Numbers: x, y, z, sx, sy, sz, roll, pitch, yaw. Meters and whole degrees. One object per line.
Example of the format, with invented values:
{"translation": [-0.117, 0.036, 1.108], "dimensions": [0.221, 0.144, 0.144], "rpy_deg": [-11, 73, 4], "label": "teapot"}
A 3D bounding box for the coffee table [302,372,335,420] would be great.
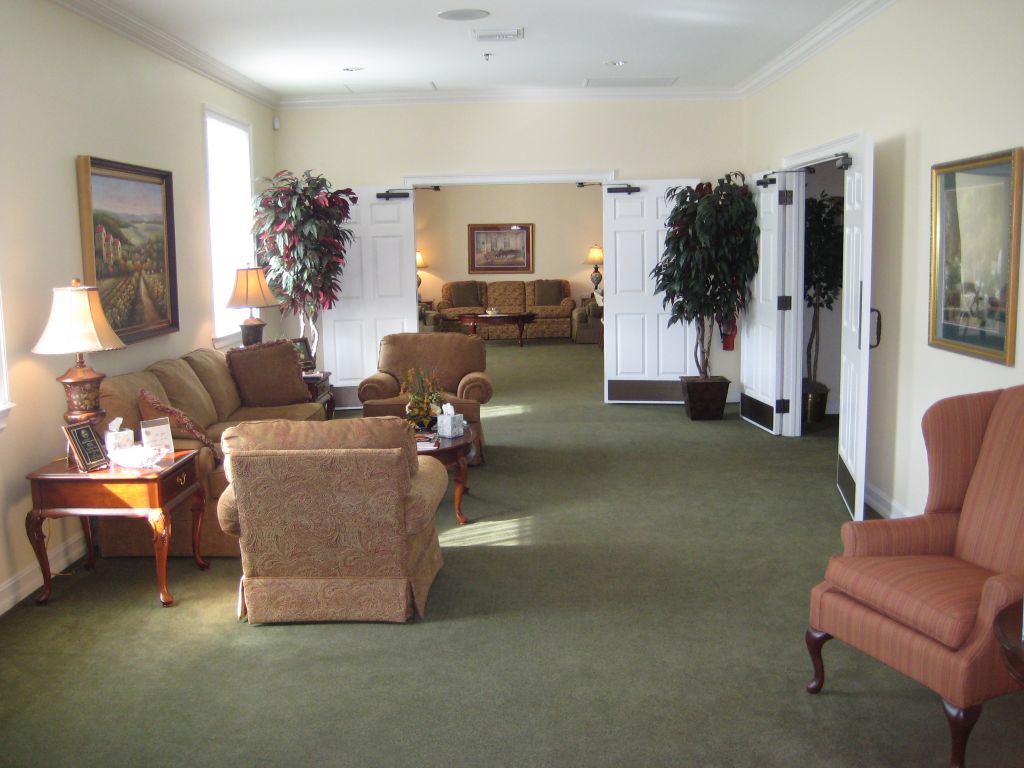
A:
{"translation": [-1.934, 0.116, 7.427], "dimensions": [0.173, 0.283, 0.462], "rpy_deg": [0, 5, -2], "label": "coffee table"}

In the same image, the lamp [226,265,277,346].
{"translation": [-2.616, -0.775, 7.488], "dimensions": [0.412, 0.779, 1.169], "rpy_deg": [-6, 12, -19], "label": "lamp"}

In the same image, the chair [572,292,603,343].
{"translation": [1.480, -1.335, 15.238], "dimensions": [0.513, 0.901, 1.047], "rpy_deg": [-3, 11, -7], "label": "chair"}

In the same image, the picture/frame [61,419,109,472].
{"translation": [-2.572, 0.374, 4.515], "dimensions": [0.055, 0.353, 0.278], "rpy_deg": [-28, -6, 16], "label": "picture/frame"}

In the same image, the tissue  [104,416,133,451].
{"translation": [-2.387, 0.310, 4.532], "dimensions": [0.134, 0.166, 0.305], "rpy_deg": [-9, 13, -32], "label": "tissue "}

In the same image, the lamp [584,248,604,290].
{"translation": [1.786, -2.463, 15.913], "dimensions": [0.186, 0.837, 0.429], "rpy_deg": [-10, 14, -38], "label": "lamp"}

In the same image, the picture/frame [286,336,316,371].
{"translation": [-2.274, -0.341, 8.151], "dimensions": [0.135, 0.423, 0.280], "rpy_deg": [-33, -16, 39], "label": "picture/frame"}

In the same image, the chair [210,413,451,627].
{"translation": [-1.003, 0.663, 4.481], "dimensions": [1.044, 1.059, 1.130], "rpy_deg": [0, 9, -1], "label": "chair"}

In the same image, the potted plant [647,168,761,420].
{"translation": [2.188, -0.981, 8.434], "dimensions": [1.117, 2.679, 0.918], "rpy_deg": [5, 13, 29], "label": "potted plant"}

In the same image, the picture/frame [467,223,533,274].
{"translation": [-0.245, -2.959, 16.057], "dimensions": [0.956, 0.803, 0.078], "rpy_deg": [0, 4, -3], "label": "picture/frame"}

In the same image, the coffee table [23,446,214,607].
{"translation": [-2.448, 0.826, 4.726], "dimensions": [0.856, 0.818, 0.936], "rpy_deg": [1, 9, -3], "label": "coffee table"}

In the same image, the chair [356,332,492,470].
{"translation": [-0.834, 0.051, 7.211], "dimensions": [1.327, 1.378, 1.163], "rpy_deg": [1, -2, 0], "label": "chair"}

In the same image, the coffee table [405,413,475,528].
{"translation": [-0.525, 0.647, 5.603], "dimensions": [0.602, 0.490, 0.592], "rpy_deg": [-2, 7, 0], "label": "coffee table"}
